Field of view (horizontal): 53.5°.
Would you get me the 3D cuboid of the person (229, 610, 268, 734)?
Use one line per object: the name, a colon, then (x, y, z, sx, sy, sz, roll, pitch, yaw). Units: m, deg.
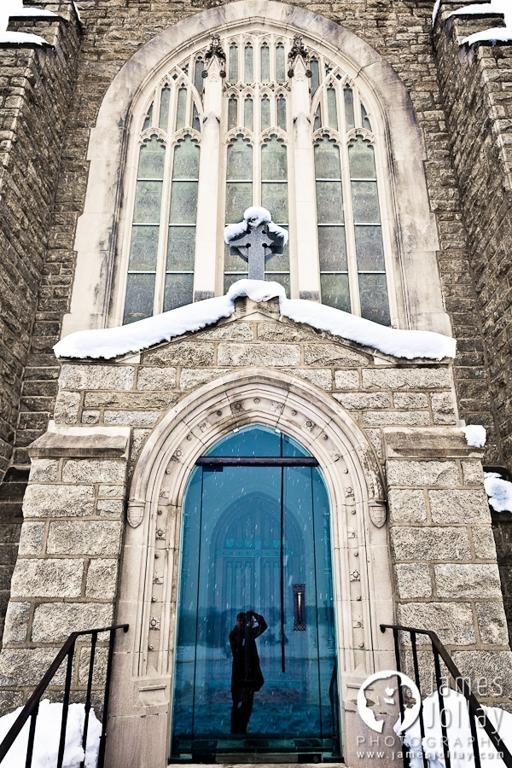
person: (-0.077, 2.697, 4.766, 0.341, 1.016, 0.465, 0, -24, -3)
